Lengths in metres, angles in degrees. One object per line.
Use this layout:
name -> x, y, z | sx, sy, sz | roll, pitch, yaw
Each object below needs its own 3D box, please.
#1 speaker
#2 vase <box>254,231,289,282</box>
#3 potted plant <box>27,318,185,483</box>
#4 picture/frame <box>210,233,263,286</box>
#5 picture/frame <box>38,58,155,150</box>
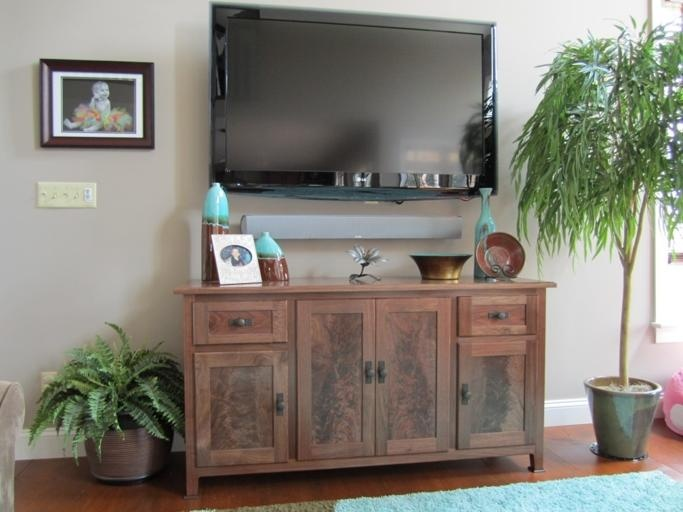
speaker -> 0.058, -0.153, 3.109 | 1.170, 0.136, 0.130 | 0, 2, -13
vase -> -0.360, -0.005, 2.955 | 0.155, 0.227, 0.169 | -6, 5, -16
potted plant -> -1.062, 0.705, 2.902 | 0.793, 0.743, 0.793 | -3, -2, -2
picture/frame -> -0.509, 0.020, 2.808 | 0.245, 0.292, 0.025 | -1, -22, -34
picture/frame -> -1.259, -0.774, 2.996 | 0.450, 0.386, 0.035 | 0, 3, -8
